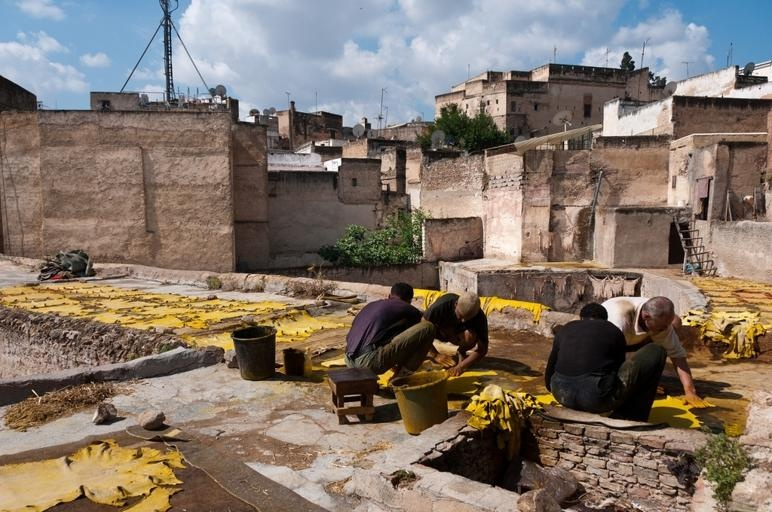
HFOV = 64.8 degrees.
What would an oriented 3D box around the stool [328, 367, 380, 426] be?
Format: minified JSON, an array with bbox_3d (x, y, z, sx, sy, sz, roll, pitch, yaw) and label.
[{"bbox_3d":[-0.420,1.676,7.323,0.627,0.490,0.572,0,4,-4],"label":"stool"}]

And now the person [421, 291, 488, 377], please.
[{"bbox_3d":[0.973,0.849,8.179,0.852,1.119,1.105,8,35,15],"label":"person"}]

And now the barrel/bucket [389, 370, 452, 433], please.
[{"bbox_3d":[0.384,1.711,7.112,0.636,0.688,0.495,0,0,20],"label":"barrel/bucket"}]

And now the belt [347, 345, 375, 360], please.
[{"bbox_3d":[-0.335,1.212,7.737,0.286,0.133,0.205,-12,9,-9],"label":"belt"}]

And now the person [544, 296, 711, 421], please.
[{"bbox_3d":[2.828,1.217,7.347,1.522,1.416,0.996,0,0,-34],"label":"person"}]

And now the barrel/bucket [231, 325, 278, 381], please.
[{"bbox_3d":[-1.759,1.305,8.240,0.680,0.575,0.636,-4,7,0],"label":"barrel/bucket"}]
